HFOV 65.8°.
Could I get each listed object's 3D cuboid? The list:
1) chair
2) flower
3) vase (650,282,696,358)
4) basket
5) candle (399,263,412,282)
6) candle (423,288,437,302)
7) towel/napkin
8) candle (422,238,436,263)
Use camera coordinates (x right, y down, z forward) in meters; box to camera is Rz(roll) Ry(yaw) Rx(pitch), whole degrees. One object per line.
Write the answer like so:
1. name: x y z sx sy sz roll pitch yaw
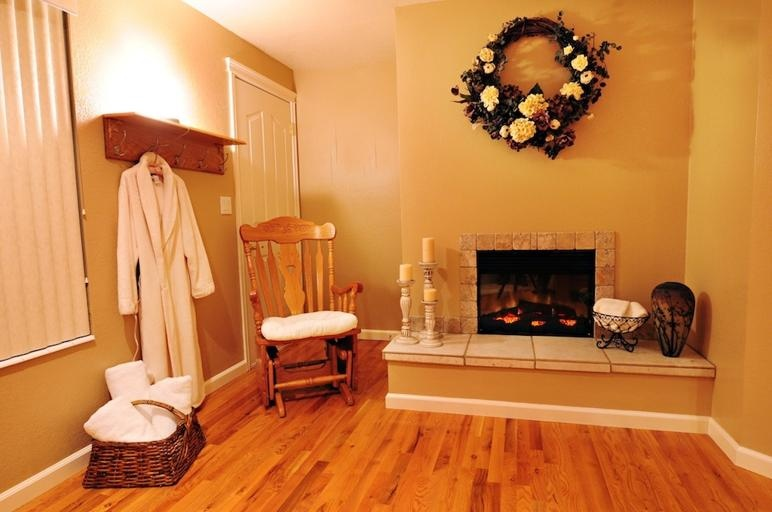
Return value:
1. chair: -0.682 0.392 4.808 0.891 1.410 1.387 -3 3 -11
2. flower: 1.058 -1.214 4.253 1.135 1.023 0.318 -1 4 21
3. vase: 1.915 0.426 3.984 0.249 0.491 0.148 -1 4 17
4. basket: -1.481 1.163 3.601 0.530 0.377 0.585 0 2 -5
5. candle: 0.135 0.117 4.323 0.112 0.124 0.112 -2 -3 33
6. candle: 0.315 0.278 4.271 0.092 0.085 0.092 1 2 12
7. towel/napkin: -1.519 0.917 3.737 0.498 0.167 0.487 5 24 -8
8. candle: 0.303 -0.033 4.306 0.072 0.181 0.049 -2 4 2
